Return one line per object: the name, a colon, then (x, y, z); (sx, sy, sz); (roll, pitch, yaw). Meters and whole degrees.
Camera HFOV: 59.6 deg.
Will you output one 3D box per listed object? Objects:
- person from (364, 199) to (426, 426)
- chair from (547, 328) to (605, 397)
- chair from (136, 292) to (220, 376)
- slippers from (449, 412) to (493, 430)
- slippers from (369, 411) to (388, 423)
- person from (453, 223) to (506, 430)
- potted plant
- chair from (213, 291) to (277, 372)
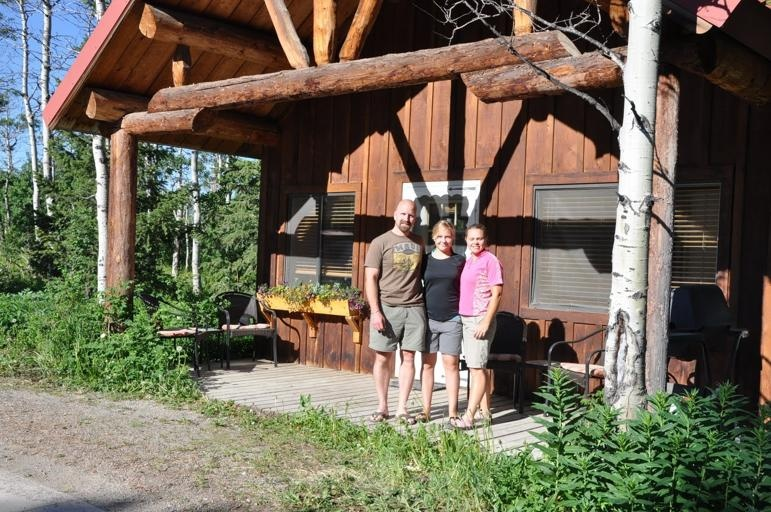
person: (0.109, 0.595, 6.992); (0.644, 2.327, 0.418); (1, 6, 0)
chair: (2.073, 1.194, 7.412); (0.604, 0.937, 0.539); (3, -4, 13)
chair: (-2.862, 1.024, 9.343); (0.894, 1.235, 0.774); (-7, -1, 5)
slippers: (0.837, 1.680, 6.818); (0.586, 0.162, 0.256); (6, -6, -28)
slippers: (-0.062, 1.704, 7.069); (0.111, 0.076, 0.222); (-4, -12, 22)
person: (0.958, 0.734, 6.861); (0.423, 2.077, 0.785); (2, 6, 7)
potted plant: (-1.052, 0.815, 9.829); (1.766, 0.865, 0.345); (6, 7, 31)
chair: (-2.091, 1.047, 10.078); (0.818, 1.164, 0.915); (0, -8, -16)
